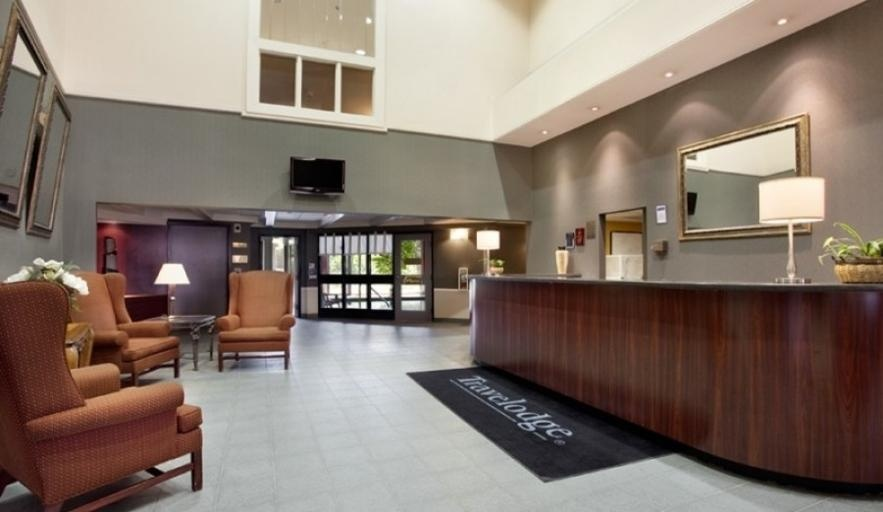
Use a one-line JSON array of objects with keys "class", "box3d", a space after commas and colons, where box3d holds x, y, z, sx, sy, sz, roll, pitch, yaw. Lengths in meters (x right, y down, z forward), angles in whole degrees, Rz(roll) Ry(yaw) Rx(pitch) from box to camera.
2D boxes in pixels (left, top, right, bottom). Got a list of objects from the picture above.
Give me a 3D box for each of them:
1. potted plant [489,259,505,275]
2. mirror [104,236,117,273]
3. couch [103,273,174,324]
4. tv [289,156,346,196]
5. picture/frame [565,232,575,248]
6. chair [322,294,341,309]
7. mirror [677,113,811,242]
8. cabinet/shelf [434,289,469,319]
[{"class": "potted plant", "box3d": [1.187, 0.218, 11.455, 0.259, 0.422, 0.244, 7, -22, 1]}, {"class": "mirror", "box3d": [-7.978, -0.079, 12.797, 0.253, 0.934, 1.508, -2, 0, -33]}, {"class": "couch", "box3d": [-5.907, 0.844, 10.393, 1.139, 1.182, 1.080, -3, -7, 16]}, {"class": "tv", "box3d": [-2.460, -1.552, 10.311, 0.882, 0.544, 0.112, 1, 0, -17]}, {"class": "picture/frame", "box3d": [2.614, -0.334, 10.811, 0.046, 0.388, 0.341, 5, -4, -26]}, {"class": "chair", "box3d": [-3.046, 1.233, 14.749, 0.464, 0.491, 0.438, 0, -1, 2]}, {"class": "mirror", "box3d": [4.477, -1.092, 8.034, 0.161, 1.649, 2.122, 1, -2, -24]}, {"class": "cabinet/shelf", "box3d": [0.293, 1.228, 13.752, 0.927, 0.687, 0.289, 1, 1, 25]}]
